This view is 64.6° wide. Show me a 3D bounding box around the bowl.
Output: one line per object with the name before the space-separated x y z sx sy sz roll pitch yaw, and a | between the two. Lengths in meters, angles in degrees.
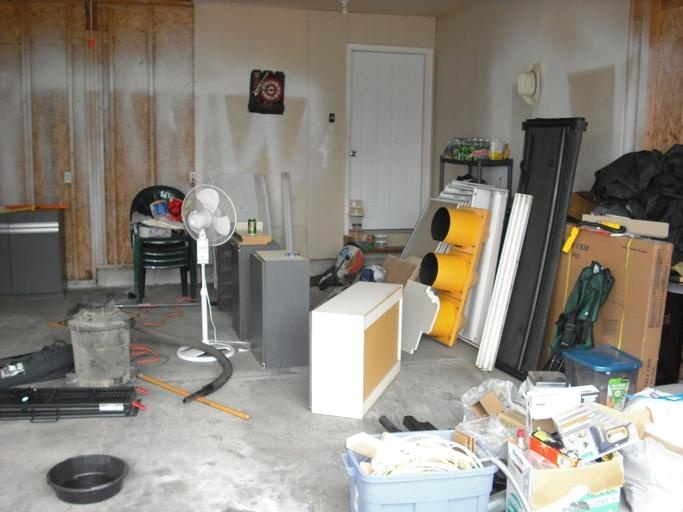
bowl | -1.418 1.251 3.018 0.418 0.162 0.321 -2 12 -20

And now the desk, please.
desk | -0.839 0.281 4.863 0.455 0.934 0.978 -1 5 -14

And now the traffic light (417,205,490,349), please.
traffic light | 1.029 0.195 4.981 0.599 1.281 0.366 2 12 2

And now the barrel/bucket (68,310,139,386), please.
barrel/bucket | -1.750 0.676 4.271 0.539 0.604 0.547 1 10 0

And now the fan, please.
fan | -1.210 0.072 4.988 0.567 1.480 1.517 0 11 -11

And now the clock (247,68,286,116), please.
clock | -0.938 -2.060 6.795 0.509 0.517 0.180 -1 19 -7

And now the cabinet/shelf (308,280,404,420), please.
cabinet/shelf | 0.114 0.706 3.875 0.335 0.587 0.879 4 7 16

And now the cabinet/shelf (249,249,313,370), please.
cabinet/shelf | -0.526 0.439 4.556 0.439 0.918 0.559 -1 12 -14
